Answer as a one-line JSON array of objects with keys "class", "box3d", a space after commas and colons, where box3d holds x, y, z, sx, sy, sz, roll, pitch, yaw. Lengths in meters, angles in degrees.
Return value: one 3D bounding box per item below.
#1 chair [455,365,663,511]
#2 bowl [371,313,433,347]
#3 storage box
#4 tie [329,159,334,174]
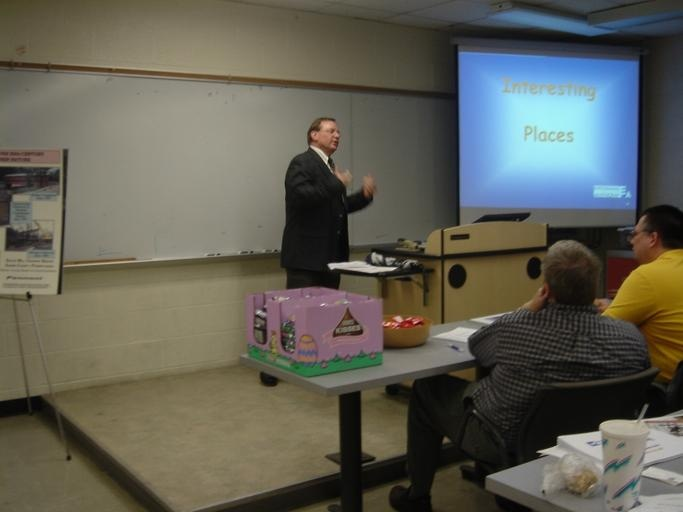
[{"class": "chair", "box3d": [0.756, 0.524, 2.041, 0.435, 0.636, 0.473, -4, 12, -25]}, {"class": "bowl", "box3d": [0.280, 0.352, 2.599, 0.277, 0.110, 0.291, -1, 7, 0]}, {"class": "storage box", "box3d": [-0.089, 0.299, 2.246, 0.336, 0.272, 0.461, -2, 5, -36]}, {"class": "tie", "box3d": [-0.081, -0.690, 4.197, 0.031, 0.090, 0.066, -23, 13, 4]}]
